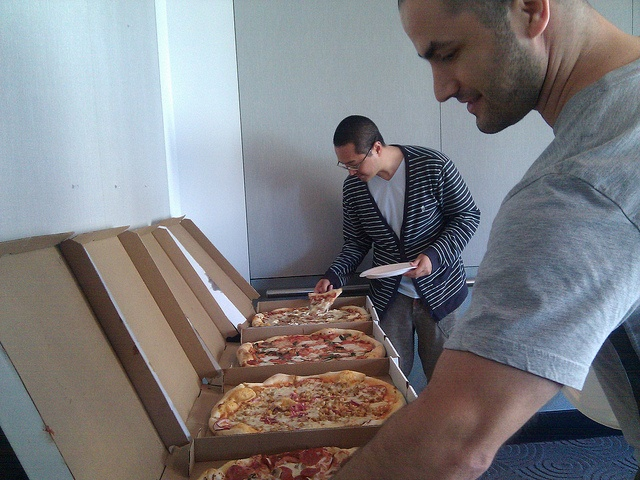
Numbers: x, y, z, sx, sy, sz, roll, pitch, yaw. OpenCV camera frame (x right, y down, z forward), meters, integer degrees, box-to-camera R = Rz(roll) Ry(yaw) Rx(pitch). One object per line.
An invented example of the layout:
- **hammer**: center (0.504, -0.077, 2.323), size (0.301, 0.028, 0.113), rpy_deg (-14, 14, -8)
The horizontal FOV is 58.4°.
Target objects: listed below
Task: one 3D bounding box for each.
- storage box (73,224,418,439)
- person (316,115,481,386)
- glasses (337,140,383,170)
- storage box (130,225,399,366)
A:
- **storage box**: center (-0.264, 0.204, 1.803), size (0.612, 0.317, 0.727), rpy_deg (-2, 13, 0)
- **person**: center (0.297, 0.255, 2.468), size (0.783, 1.472, 0.571), rpy_deg (-2, 5, 7)
- **glasses**: center (0.168, -0.315, 2.331), size (0.138, 0.038, 0.131), rpy_deg (-47, 25, -21)
- **storage box**: center (-0.364, 0.180, 2.120), size (0.590, 0.262, 0.563), rpy_deg (2, 14, -6)
